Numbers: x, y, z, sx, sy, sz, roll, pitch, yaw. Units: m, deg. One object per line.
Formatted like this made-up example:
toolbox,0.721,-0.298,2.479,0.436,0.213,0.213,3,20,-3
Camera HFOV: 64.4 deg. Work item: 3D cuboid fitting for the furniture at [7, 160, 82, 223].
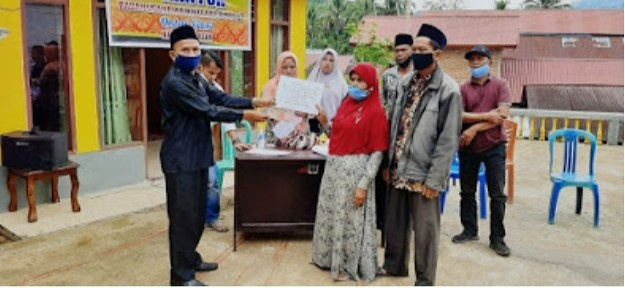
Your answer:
furniture,-6.451,1.128,12.227,1.650,1.321,1.611,-2,4,-40

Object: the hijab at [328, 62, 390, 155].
hijab,1.004,-0.710,10.570,1.193,1.911,0.455,1,11,3

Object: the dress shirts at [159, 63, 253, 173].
dress shirts,-1.846,-0.765,11.260,2.692,2.297,1.688,0,21,-4

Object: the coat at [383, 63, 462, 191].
coat,2.376,-0.328,10.393,1.427,2.514,0.677,3,11,14

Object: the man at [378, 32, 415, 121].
man,2.144,-1.572,11.712,0.674,1.762,1.175,-8,16,-42
